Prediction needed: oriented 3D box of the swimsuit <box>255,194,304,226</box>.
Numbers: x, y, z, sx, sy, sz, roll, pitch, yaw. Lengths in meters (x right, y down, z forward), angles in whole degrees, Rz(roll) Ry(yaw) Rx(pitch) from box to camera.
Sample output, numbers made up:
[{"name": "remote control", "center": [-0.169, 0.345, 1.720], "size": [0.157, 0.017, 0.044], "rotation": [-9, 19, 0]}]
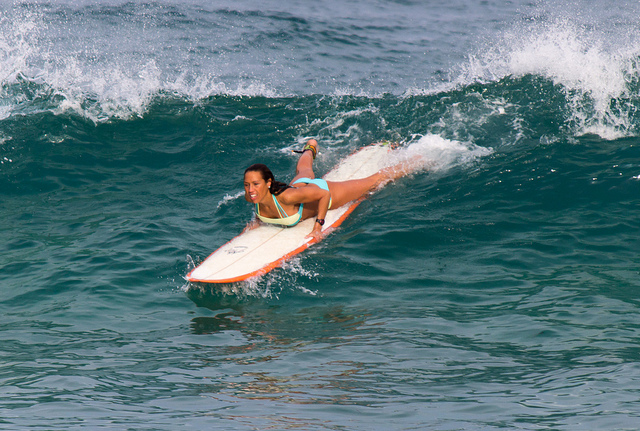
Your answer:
[{"name": "swimsuit", "center": [-0.892, -0.121, 17.785], "size": [1.007, 0.792, 0.371], "rotation": [5, 22, -5]}]

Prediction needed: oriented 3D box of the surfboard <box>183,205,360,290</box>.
[{"name": "surfboard", "center": [-1.216, 0.587, 17.348], "size": [1.304, 4.753, 0.376], "rotation": [33, 56, -17]}]
